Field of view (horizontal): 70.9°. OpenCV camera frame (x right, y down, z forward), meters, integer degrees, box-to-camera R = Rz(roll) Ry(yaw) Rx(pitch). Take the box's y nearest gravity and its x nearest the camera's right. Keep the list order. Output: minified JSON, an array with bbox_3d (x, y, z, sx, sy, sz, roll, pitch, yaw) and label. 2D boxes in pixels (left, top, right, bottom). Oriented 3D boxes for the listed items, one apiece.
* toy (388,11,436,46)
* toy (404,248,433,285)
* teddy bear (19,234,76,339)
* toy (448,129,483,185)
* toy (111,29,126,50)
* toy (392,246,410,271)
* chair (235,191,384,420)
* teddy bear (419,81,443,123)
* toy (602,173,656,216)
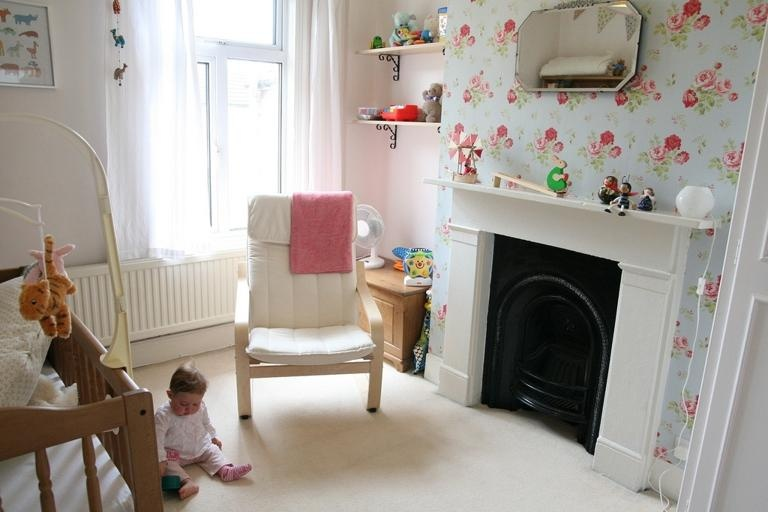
[{"bbox_3d":[0.203,-1.681,4.048,0.351,0.242,0.262,-19,15,-34],"label":"toy"},{"bbox_3d":[0.254,0.079,4.117,0.289,0.355,0.224,2,10,1],"label":"toy"},{"bbox_3d":[-1.384,0.155,2.320,0.201,0.477,0.245,-4,-15,2],"label":"teddy bear"},{"bbox_3d":[0.499,-0.656,3.527,0.284,0.330,0.183,13,18,34],"label":"toy"},{"bbox_3d":[-1.733,-1.410,3.501,0.084,0.115,0.052,-4,16,-25],"label":"toy"},{"bbox_3d":[0.117,0.017,4.402,0.062,0.171,0.175,0,7,26],"label":"toy"},{"bbox_3d":[-0.527,0.314,3.579,0.905,1.337,0.801,-1,15,-16],"label":"chair"},{"bbox_3d":[0.350,-1.137,4.017,0.127,0.273,0.126,2,15,-4],"label":"teddy bear"},{"bbox_3d":[1.322,-0.308,2.894,0.236,0.160,0.215,10,16,26],"label":"toy"}]
